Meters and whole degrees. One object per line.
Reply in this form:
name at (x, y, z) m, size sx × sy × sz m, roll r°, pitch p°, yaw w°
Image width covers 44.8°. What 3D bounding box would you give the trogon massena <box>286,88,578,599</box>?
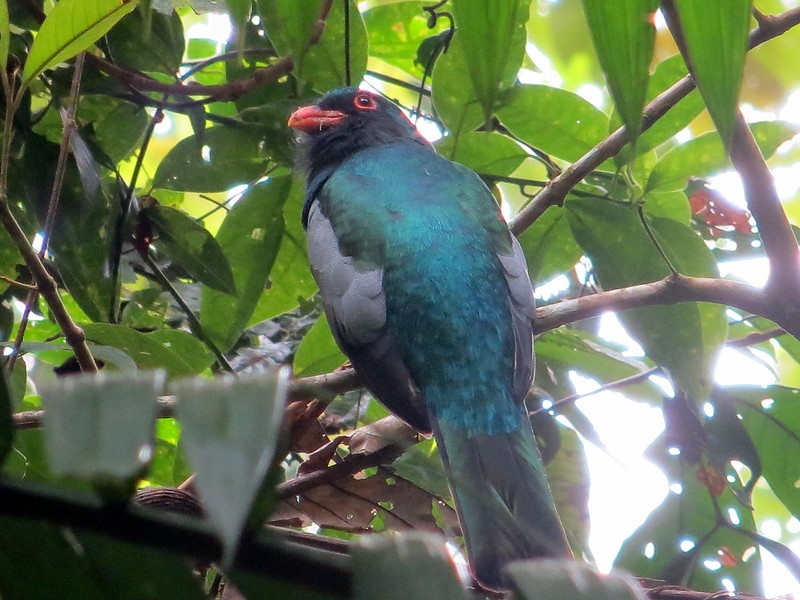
trogon massena at (0.070, -0.050, 3.851) m, size 1.023 × 2.630 × 0.523 m, roll 6°, pitch -42°, yaw -5°
